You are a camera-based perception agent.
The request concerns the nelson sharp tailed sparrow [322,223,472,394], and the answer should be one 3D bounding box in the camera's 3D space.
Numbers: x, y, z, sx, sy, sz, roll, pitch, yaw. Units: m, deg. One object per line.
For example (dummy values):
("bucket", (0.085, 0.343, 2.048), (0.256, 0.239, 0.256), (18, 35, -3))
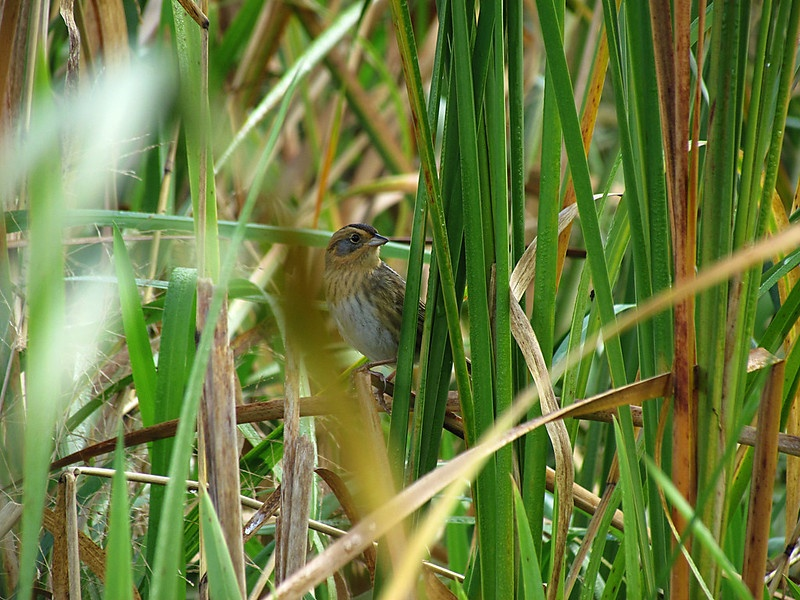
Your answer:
("nelson sharp tailed sparrow", (-0.171, -0.052, 5.293), (0.416, 0.683, 0.626), (-5, 4, -5))
